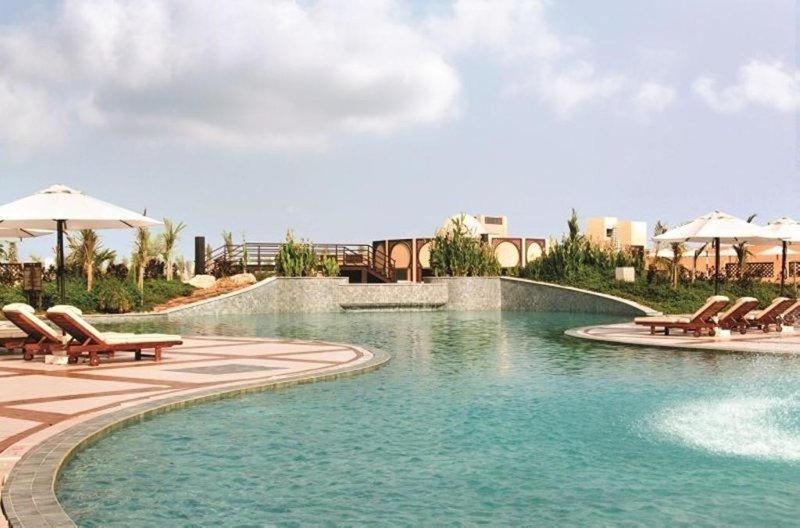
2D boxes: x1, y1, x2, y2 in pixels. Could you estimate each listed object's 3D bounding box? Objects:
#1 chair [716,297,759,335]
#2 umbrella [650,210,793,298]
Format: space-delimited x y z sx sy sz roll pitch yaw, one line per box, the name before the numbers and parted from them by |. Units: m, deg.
chair | 9.523 1.430 20.302 1.607 0.951 0.933 1 -2 22
umbrella | 13.703 -0.007 31.681 4.246 2.878 4.114 1 -1 -41
